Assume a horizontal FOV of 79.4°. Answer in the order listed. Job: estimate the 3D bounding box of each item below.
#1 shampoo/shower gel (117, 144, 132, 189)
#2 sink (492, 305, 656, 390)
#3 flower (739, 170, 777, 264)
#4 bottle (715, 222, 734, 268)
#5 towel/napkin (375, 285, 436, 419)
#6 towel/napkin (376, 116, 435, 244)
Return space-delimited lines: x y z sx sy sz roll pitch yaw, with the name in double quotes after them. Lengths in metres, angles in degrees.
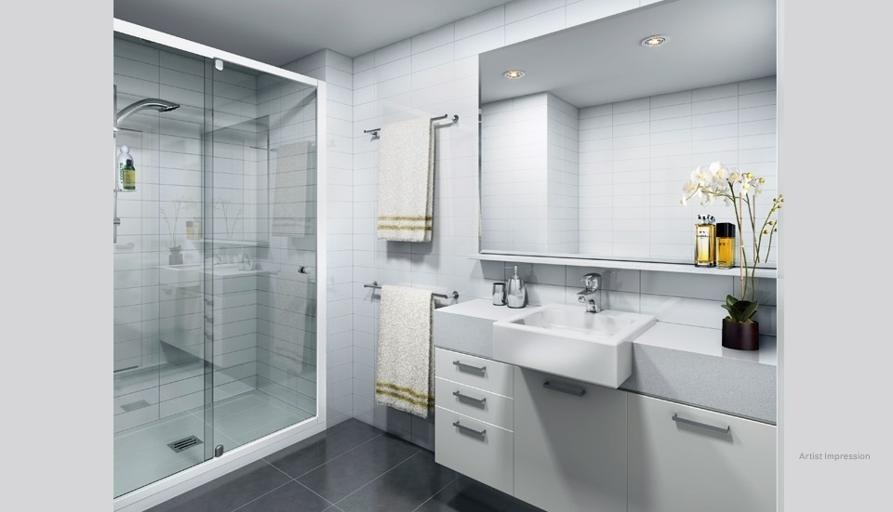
-1.164 -0.317 1.959 0.056 0.166 0.026 -5 7 -30 "shampoo/shower gel"
0.439 0.269 1.716 0.342 0.096 0.305 3 8 40 "sink"
0.932 -0.110 1.618 0.103 0.292 0.225 2 7 28 "flower"
0.896 -0.037 1.702 0.077 0.144 0.070 -2 4 7 "bottle"
-0.185 0.431 2.465 0.160 0.550 0.395 -6 7 -34 "towel/napkin"
-0.208 -0.360 2.558 0.332 0.564 0.081 3 8 39 "towel/napkin"
